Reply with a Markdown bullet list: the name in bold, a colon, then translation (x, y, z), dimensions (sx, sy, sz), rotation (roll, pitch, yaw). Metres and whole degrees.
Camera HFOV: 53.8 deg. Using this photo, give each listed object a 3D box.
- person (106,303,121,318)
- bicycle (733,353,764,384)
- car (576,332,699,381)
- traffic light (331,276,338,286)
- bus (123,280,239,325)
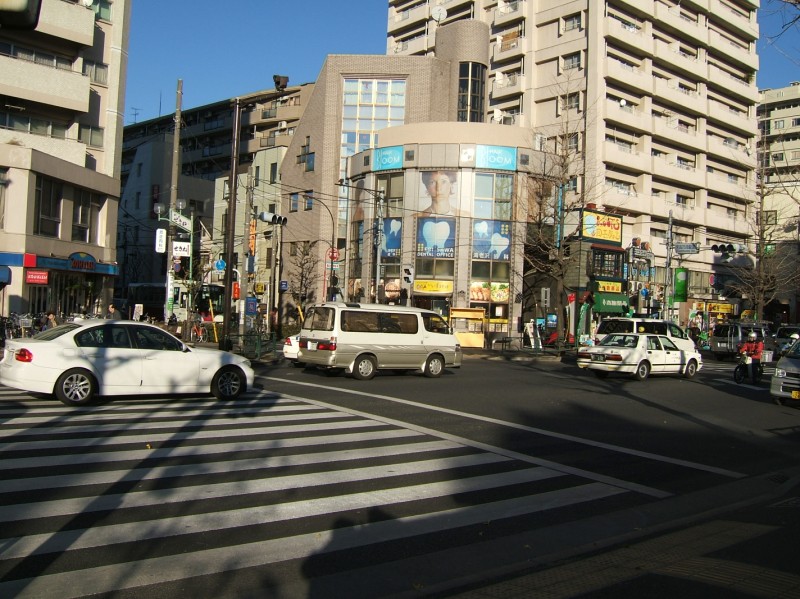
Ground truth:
- **person**: translation (-13.630, 0.513, 37.515), dimensions (0.354, 1.134, 0.454), rotation (0, -22, 10)
- **bicycle**: translation (12.149, 2.431, 27.292), dimensions (1.438, 0.903, 0.727), rotation (6, -6, -26)
- **car**: translation (8.412, 1.881, 27.117), dimensions (3.678, 1.106, 1.676), rotation (-3, 4, -30)
- **traffic light**: translation (-3.576, -1.055, 43.100), dimensions (0.418, 0.421, 0.503), rotation (5, -21, -5)
- **bus**: translation (-15.860, 0.445, 56.673), dimensions (7.715, 3.446, 2.402), rotation (-1, 0, -7)
